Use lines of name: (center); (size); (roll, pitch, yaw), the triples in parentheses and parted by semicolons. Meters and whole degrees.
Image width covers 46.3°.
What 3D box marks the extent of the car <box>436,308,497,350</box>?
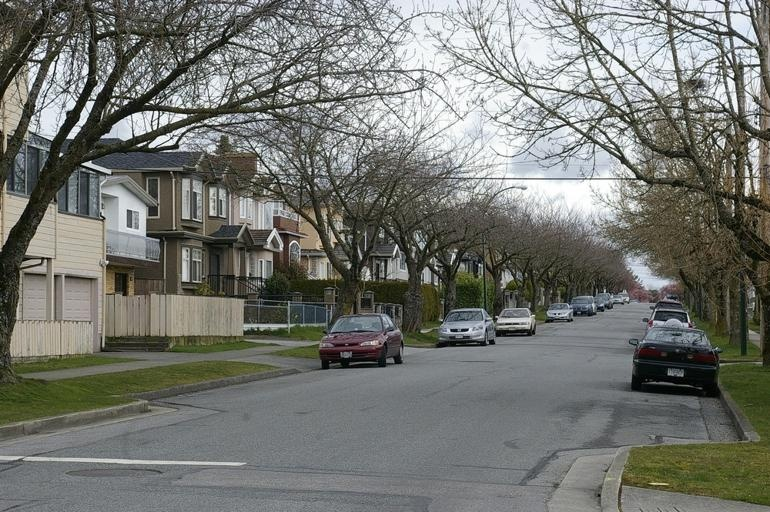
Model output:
car: (4.062, 3.481, 44.285); (2.673, 1.915, 2.039); (-2, -8, 1)

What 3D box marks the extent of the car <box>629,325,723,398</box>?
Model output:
car: (8.003, 2.923, 24.666); (2.203, 1.851, 1.052); (-4, -8, 18)

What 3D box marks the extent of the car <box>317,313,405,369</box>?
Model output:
car: (-0.809, 2.980, 32.226); (2.229, 1.998, 3.035); (-6, -9, 27)
